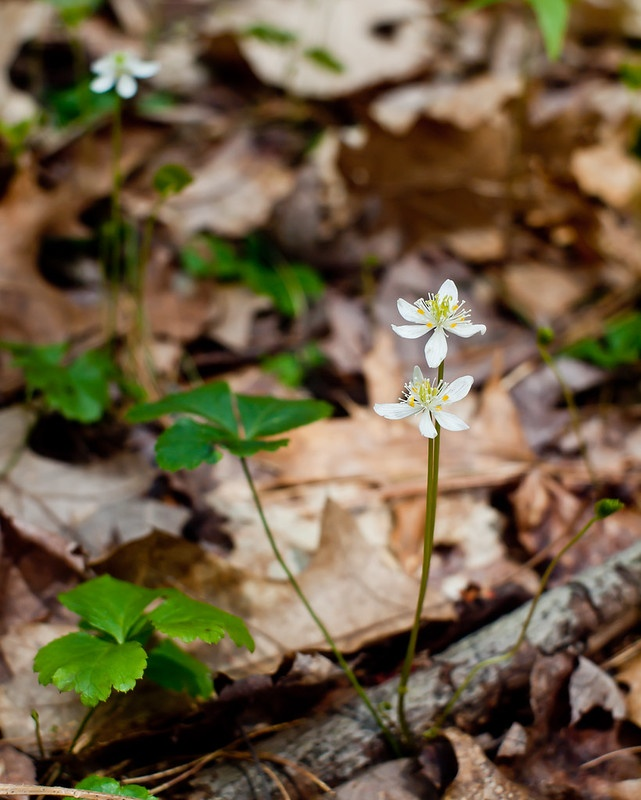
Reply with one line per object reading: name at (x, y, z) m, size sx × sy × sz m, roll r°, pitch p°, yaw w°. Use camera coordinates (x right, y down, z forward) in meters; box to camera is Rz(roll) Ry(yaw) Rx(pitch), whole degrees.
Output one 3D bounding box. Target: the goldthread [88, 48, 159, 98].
goldthread at (-0.688, -1.161, 2.937) m, size 0.227 × 0.084 × 0.170 m, roll -1°, pitch 67°, yaw 8°
